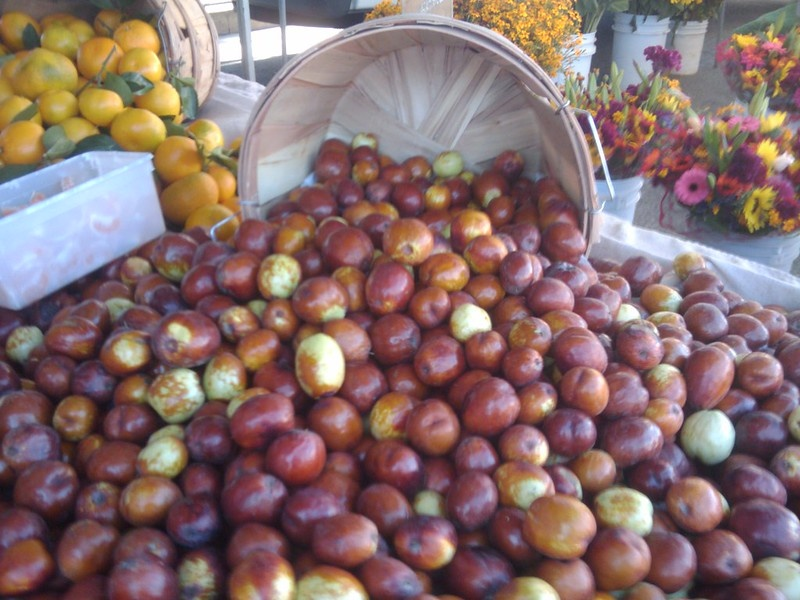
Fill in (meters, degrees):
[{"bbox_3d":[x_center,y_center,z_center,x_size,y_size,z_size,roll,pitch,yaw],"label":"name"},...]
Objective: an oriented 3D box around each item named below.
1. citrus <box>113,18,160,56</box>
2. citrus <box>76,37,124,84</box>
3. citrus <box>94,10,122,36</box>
[{"bbox_3d":[-1.444,-1.456,3.753,0.204,0.248,0.220,-5,-6,-15],"label":"citrus"},{"bbox_3d":[-1.574,-1.249,3.577,0.171,0.178,0.182,33,78,26],"label":"citrus"},{"bbox_3d":[-1.654,-1.571,3.876,0.108,0.123,0.141,24,22,-5],"label":"citrus"}]
